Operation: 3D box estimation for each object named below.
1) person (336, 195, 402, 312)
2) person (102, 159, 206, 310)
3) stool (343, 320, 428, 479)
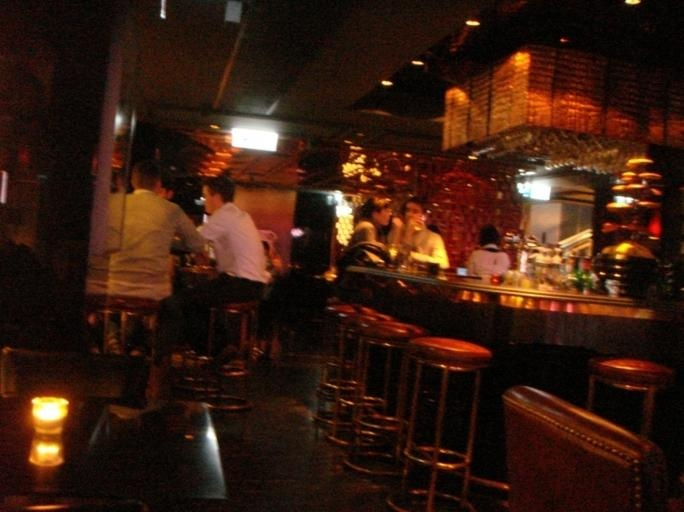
[{"bbox_3d":[0.208,0.007,5.533,0.549,1.094,0.340,17,-48,-6],"label":"person"},{"bbox_3d":[-1.315,-0.175,5.058,0.635,0.693,0.218,4,4,-35],"label":"person"},{"bbox_3d":[0.228,0.940,4.789,0.638,0.861,0.526,4,-4,-10],"label":"stool"}]
